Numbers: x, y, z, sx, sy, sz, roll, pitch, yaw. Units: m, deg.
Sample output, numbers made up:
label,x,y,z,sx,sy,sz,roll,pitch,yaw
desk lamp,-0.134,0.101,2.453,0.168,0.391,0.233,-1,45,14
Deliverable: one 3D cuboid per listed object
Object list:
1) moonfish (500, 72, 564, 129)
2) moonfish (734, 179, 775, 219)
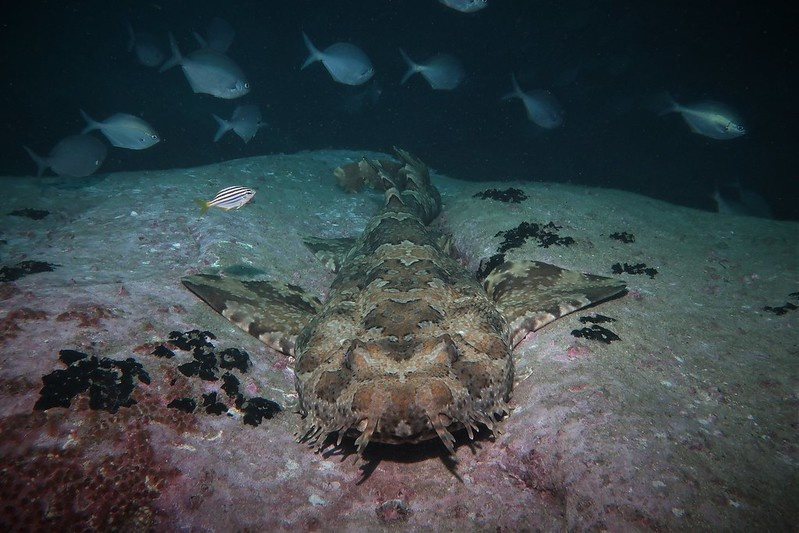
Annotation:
label,x,y,z,sx,sy,sz,roll,pitch,yaw
moonfish,3.172,-4.008,14.610,1.880,1.028,0.241,36,-5,-25
moonfish,8.524,-1.598,14.119,0.685,1.021,0.247,-8,-12,24
